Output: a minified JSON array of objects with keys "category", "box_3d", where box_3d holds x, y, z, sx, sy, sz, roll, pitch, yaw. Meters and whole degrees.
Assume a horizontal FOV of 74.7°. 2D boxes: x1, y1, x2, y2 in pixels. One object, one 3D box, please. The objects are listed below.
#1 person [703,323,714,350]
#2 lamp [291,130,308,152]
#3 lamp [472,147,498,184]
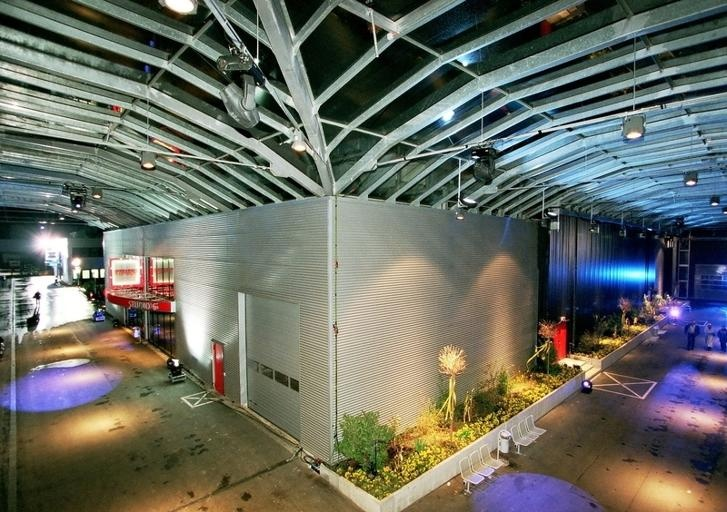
[{"category":"person","box_3d":[21.871,5.223,30.064,0.380,1.618,1.114,1,2,34]},{"category":"lamp","box_3d":[-2.121,-3.856,15.653,0.473,0.813,0.874,0,1,-7]},{"category":"lamp","box_3d":[4.169,-3.144,16.416,0.737,1.079,0.879,0,1,12]}]
